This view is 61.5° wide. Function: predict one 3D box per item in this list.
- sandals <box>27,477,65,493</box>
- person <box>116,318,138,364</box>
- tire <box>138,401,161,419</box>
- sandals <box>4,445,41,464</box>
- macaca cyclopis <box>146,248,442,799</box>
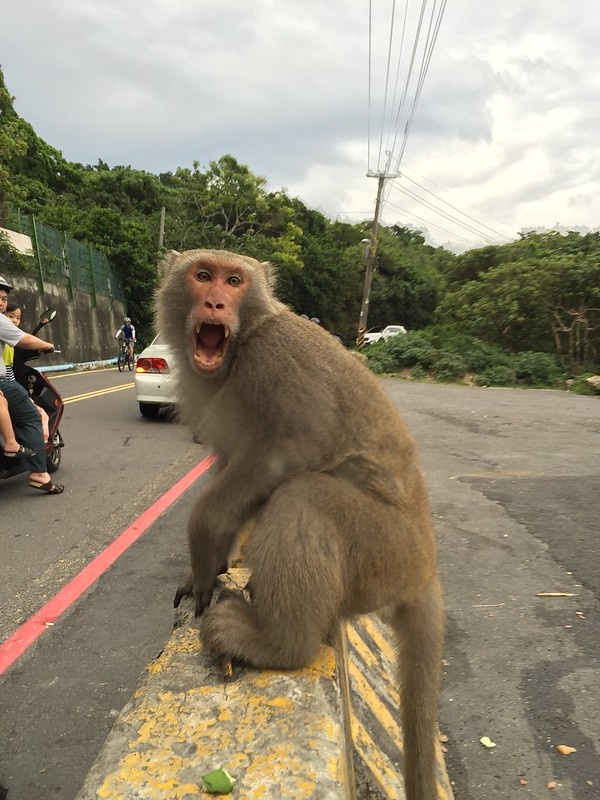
[{"bbox_3d":[-2.277,0.802,4.513,0.286,0.110,0.155,19,1,-19],"label":"sandals"},{"bbox_3d":[-6.337,-2.359,18.934,1.093,1.326,2.095,3,12,-12],"label":"person"},{"bbox_3d":[-2.393,0.164,7.960,0.261,0.357,0.114,4,43,-8],"label":"tire"},{"bbox_3d":[-2.318,0.453,4.133,0.214,0.089,0.077,4,13,-27],"label":"sandals"},{"bbox_3d":[-0.057,0.211,1.696,0.972,1.540,0.687,-3,-1,17],"label":"macaca cyclopis"}]
